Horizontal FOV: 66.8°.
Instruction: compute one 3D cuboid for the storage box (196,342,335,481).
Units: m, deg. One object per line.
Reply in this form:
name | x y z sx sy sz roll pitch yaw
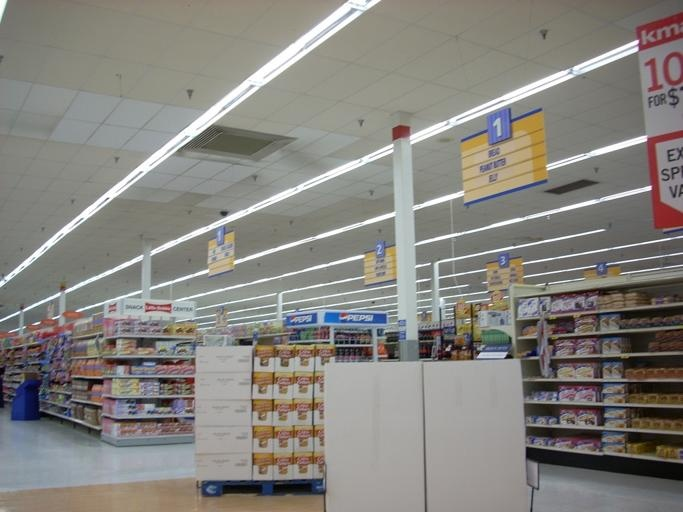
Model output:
storage box | -0.963 1.907 6.118 2.052 1.899 0.980 0 -8 -1
